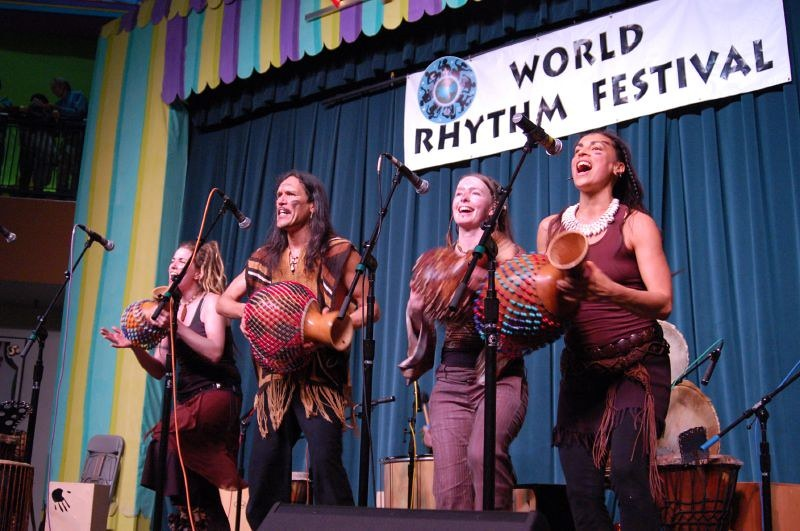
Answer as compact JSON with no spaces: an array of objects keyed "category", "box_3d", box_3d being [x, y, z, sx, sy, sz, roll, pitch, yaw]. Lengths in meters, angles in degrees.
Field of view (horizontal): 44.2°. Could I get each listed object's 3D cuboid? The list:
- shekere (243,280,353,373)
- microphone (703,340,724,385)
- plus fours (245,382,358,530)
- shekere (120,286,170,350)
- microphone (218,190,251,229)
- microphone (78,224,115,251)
[{"category":"shekere","box_3d":[-0.765,0.369,7.293,0.599,0.723,0.581,5,0,18]},{"category":"microphone","box_3d":[2.699,0.841,8.447,0.052,0.399,0.107,-3,25,-29]},{"category":"plus fours","box_3d":[-0.753,1.464,7.308,0.830,0.943,0.296,-5,-11,19]},{"category":"shekere","box_3d":[-2.038,0.443,7.740,0.260,0.624,0.242,-2,2,-9]},{"category":"microphone","box_3d":[-1.693,-0.560,10.027,0.557,0.155,0.203,49,11,14]},{"category":"microphone","box_3d":[-3.278,-0.294,10.549,0.328,0.106,0.121,42,37,-3]}]
